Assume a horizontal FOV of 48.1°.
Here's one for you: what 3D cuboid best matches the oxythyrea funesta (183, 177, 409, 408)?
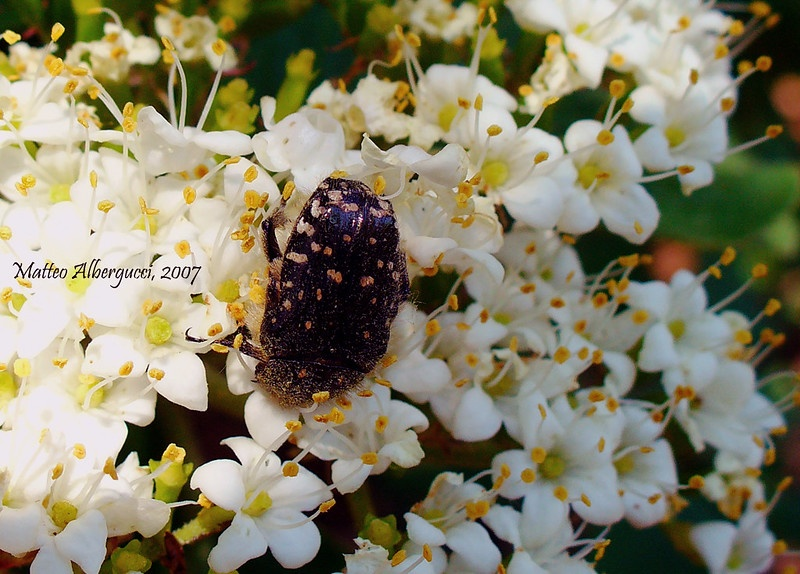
[{"bbox_3d":[-0.125,0.011,1.391,0.253,0.193,0.330,26,73,-2],"label":"oxythyrea funesta"}]
